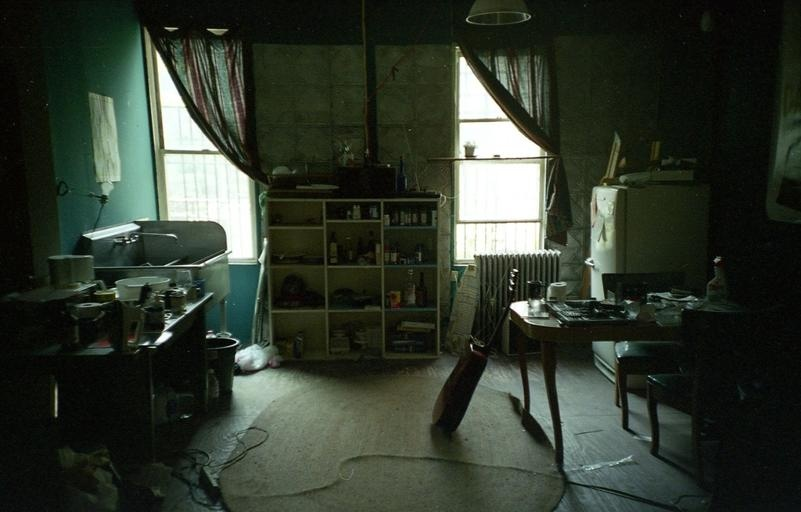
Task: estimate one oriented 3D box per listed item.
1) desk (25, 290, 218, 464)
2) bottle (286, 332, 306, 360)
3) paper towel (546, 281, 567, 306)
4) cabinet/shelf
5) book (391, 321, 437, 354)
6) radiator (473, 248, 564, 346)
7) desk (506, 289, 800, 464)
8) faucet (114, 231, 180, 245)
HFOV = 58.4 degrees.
[{"bbox_3d":[-2.067,0.680,5.867,1.132,1.235,1.864,0,13,-1],"label":"desk"},{"bbox_3d":[-1.069,0.928,7.454,0.176,0.252,0.288,-3,3,-8],"label":"bottle"},{"bbox_3d":[1.273,0.298,5.933,0.214,0.190,0.129,2,9,11],"label":"paper towel"},{"bbox_3d":[-0.506,0.165,7.408,1.994,1.638,0.493,-1,1,-2],"label":"cabinet/shelf"},{"bbox_3d":[0.114,0.848,7.447,0.488,0.332,0.177,-2,3,-1],"label":"book"},{"bbox_3d":[1.097,0.421,7.644,0.849,1.007,0.324,1,7,-2],"label":"radiator"},{"bbox_3d":[1.599,0.623,5.645,2.167,0.922,1.276,-2,1,-5],"label":"desk"},{"bbox_3d":[-2.456,-0.183,6.899,0.529,0.129,0.151,-3,11,-43],"label":"faucet"}]
